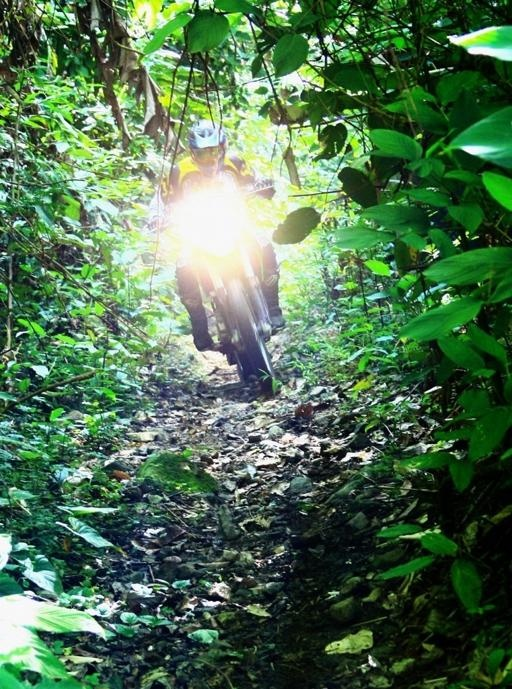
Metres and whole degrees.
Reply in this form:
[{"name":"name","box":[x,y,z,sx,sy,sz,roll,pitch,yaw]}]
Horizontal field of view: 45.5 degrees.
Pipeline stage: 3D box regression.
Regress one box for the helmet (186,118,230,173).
[{"name":"helmet","box":[-0.294,-1.153,3.637,0.267,0.307,0.259,-10,-66,-10]}]

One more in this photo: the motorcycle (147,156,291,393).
[{"name":"motorcycle","box":[-0.145,-0.439,3.835,0.734,1.470,1.199,-10,-34,-7]}]
